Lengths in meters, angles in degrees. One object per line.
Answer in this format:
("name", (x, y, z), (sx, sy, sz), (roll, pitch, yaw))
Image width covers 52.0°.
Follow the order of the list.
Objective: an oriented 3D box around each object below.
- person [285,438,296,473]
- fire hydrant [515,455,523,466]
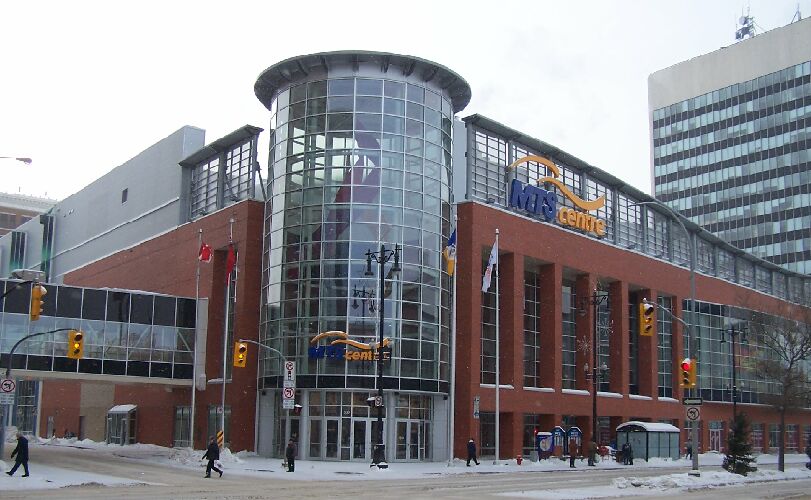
("person", (-9.241, 16.648, 66.965), (0.678, 2.328, 1.330), (3, -18, -10))
("fire hydrant", (11.014, 20.103, 79.507), (0.782, 0.971, 0.722), (1, -20, 0))
